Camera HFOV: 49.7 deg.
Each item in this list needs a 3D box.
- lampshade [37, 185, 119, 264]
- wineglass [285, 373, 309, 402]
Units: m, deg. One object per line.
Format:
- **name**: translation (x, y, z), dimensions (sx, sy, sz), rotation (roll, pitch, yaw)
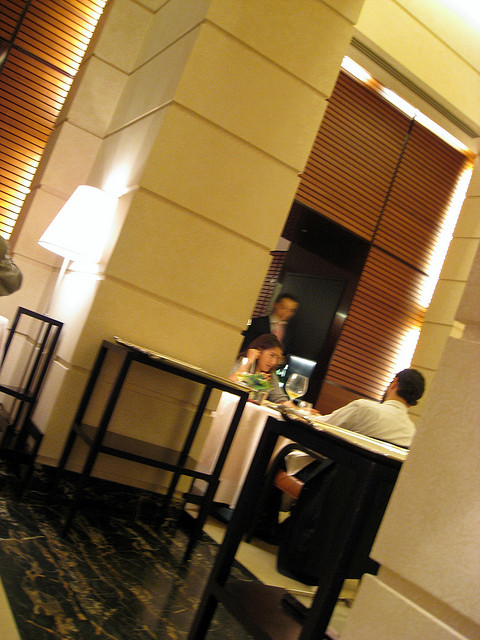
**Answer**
- **lampshade**: translation (-0.719, -0.455, 2.397), dimensions (0.278, 0.398, 0.136), rotation (26, -6, -15)
- **wineglass**: translation (0.232, 0.276, 2.143), dimensions (0.086, 0.104, 0.180), rotation (24, -5, 8)
